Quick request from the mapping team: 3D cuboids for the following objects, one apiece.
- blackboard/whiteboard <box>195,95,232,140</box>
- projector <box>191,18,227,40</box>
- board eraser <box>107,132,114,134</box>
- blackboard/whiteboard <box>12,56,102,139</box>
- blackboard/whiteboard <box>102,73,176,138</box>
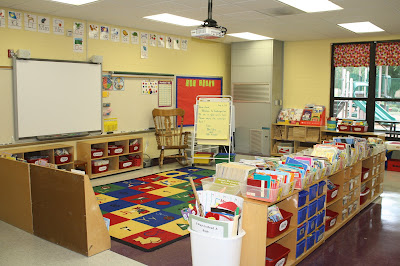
[{"bbox_3d":[0.345,-0.367,7.273,1.362,1.473,0.504,0,-6,9],"label":"blackboard/whiteboard"},{"bbox_3d":[0.146,-1.598,4.144,0.493,0.293,0.310,-6,12,-37],"label":"projector"},{"bbox_3d":[-2.238,-0.001,6.744,0.022,0.061,0.209,1,1,40],"label":"board eraser"},{"bbox_3d":[-3.111,-0.773,5.796,2.027,1.548,0.216,-4,6,-44],"label":"blackboard/whiteboard"},{"bbox_3d":[-1.676,-0.703,7.190,0.146,1.251,1.958,2,4,44],"label":"blackboard/whiteboard"}]
